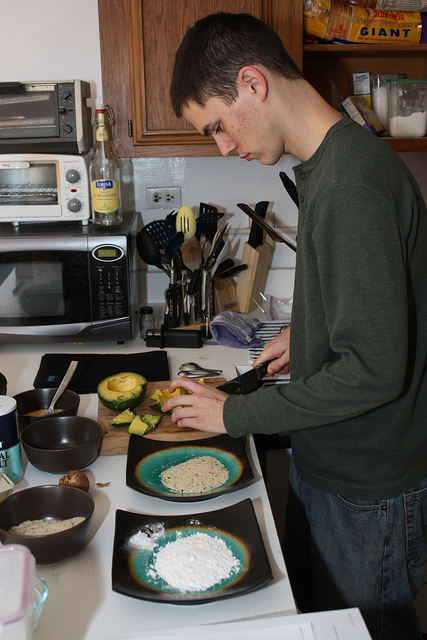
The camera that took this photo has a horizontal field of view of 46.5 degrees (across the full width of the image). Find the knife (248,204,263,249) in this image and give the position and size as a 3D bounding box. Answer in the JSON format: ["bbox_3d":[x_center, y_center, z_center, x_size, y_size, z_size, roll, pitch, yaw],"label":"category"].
[{"bbox_3d":[0.156,-0.344,1.825,0.037,0.158,0.057,6,-2,-12],"label":"knife"}]

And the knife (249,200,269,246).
[{"bbox_3d":[0.161,-0.351,1.774,0.068,0.196,0.050,21,33,36],"label":"knife"}]

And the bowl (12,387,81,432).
[{"bbox_3d":[-0.351,0.177,1.013,0.087,0.040,0.089,1,20,0],"label":"bowl"}]

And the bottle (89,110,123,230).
[{"bbox_3d":[-0.336,-0.463,1.568,0.107,0.350,0.120,-2,14,-12],"label":"bottle"}]

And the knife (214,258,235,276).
[{"bbox_3d":[0.042,-0.196,1.775,0.097,0.029,0.026,-38,32,-4],"label":"knife"}]

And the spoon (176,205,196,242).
[{"bbox_3d":[-0.091,-0.321,1.658,0.067,0.115,0.092,-4,17,-3],"label":"spoon"}]

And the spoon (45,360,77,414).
[{"bbox_3d":[-0.322,0.139,1.069,0.029,0.009,0.088,15,63,7],"label":"spoon"}]

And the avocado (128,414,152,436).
[{"bbox_3d":[-0.148,0.215,1.019,0.038,0.027,0.057,8,20,30],"label":"avocado"}]

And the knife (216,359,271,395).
[{"bbox_3d":[0.075,0.140,1.216,0.019,0.057,0.240,13,19,40],"label":"knife"}]

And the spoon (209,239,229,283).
[{"bbox_3d":[0.017,-0.203,1.732,0.009,0.189,0.025,37,17,34],"label":"spoon"}]

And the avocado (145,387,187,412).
[{"bbox_3d":[-0.113,0.179,1.130,0.060,0.023,0.056,-8,11,2],"label":"avocado"}]

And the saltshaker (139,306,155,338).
[{"bbox_3d":[-0.224,-0.003,1.667,0.051,0.096,0.153,-6,18,-9],"label":"saltshaker"}]

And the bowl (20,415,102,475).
[{"bbox_3d":[-0.271,0.216,0.885,0.105,0.048,0.107,3,18,-1],"label":"bowl"}]

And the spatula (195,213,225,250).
[{"bbox_3d":[-0.018,-0.327,1.737,0.095,0.097,0.114,-3,17,-2],"label":"spatula"}]

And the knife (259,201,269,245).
[{"bbox_3d":[0.180,-0.351,1.821,0.037,0.139,0.032,4,11,-1],"label":"knife"}]

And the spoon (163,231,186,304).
[{"bbox_3d":[-0.123,-0.177,1.601,0.061,0.042,0.236,-2,58,9],"label":"spoon"}]

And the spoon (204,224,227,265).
[{"bbox_3d":[0.005,-0.268,1.754,0.024,0.180,0.020,16,-4,16],"label":"spoon"}]
